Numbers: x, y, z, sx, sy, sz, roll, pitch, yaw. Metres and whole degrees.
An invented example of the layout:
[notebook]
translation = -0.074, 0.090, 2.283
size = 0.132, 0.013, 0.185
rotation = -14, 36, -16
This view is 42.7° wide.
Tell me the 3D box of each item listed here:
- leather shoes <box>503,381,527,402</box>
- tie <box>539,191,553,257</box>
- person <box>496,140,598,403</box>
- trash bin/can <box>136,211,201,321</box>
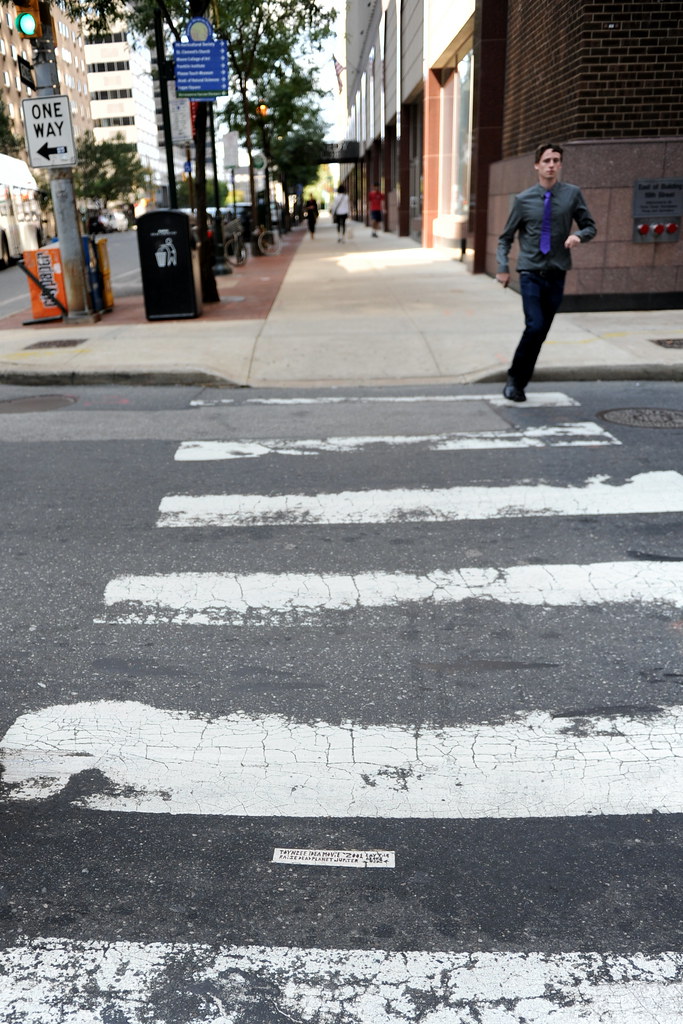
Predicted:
[leather shoes]
translation = 1.571, -1.105, 7.910
size = 0.211, 0.229, 0.135
rotation = 6, 24, 14
[tie]
translation = 1.734, -2.431, 7.372
size = 0.100, 0.511, 0.247
rotation = 2, 23, 13
[person]
translation = 1.735, -2.004, 7.570
size = 0.816, 2.187, 0.909
rotation = 14, 27, 36
[trash bin/can]
translation = -2.543, -3.570, 12.752
size = 0.827, 1.609, 0.783
rotation = -7, 22, -10
